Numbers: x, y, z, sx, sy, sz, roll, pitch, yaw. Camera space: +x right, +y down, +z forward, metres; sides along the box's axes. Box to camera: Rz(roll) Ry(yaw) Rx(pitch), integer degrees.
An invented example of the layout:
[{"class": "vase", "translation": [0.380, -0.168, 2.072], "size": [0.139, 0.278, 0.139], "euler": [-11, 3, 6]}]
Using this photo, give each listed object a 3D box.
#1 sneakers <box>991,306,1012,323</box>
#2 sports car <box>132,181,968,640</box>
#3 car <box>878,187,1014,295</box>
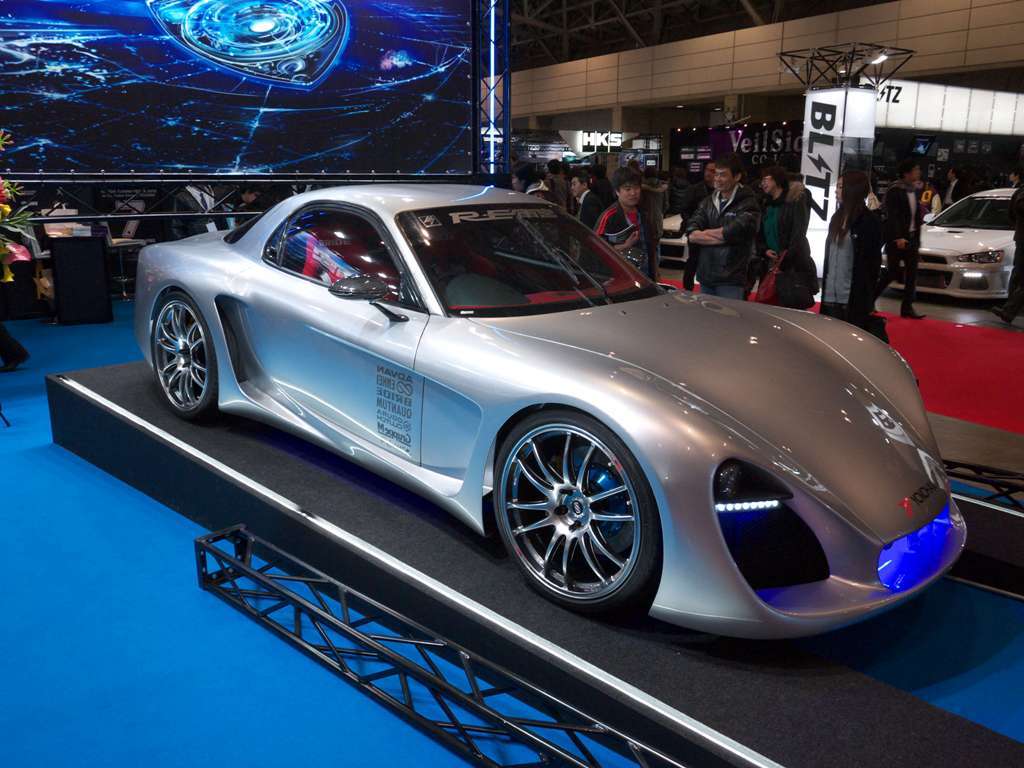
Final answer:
[{"class": "sneakers", "translation": [6.741, -0.961, 8.886], "size": [0.135, 0.136, 0.333], "euler": [7, 32, 0]}, {"class": "sports car", "translation": [-0.149, -0.285, 3.510], "size": [4.539, 1.513, 1.875], "euler": [14, 22, 35]}, {"class": "car", "translation": [7.045, -2.141, 10.062], "size": [3.109, 0.962, 1.322], "euler": [-9, 13, -43]}]
